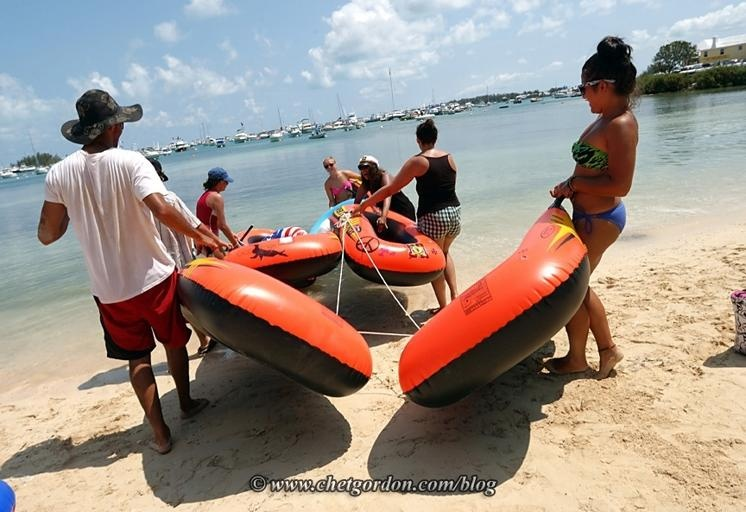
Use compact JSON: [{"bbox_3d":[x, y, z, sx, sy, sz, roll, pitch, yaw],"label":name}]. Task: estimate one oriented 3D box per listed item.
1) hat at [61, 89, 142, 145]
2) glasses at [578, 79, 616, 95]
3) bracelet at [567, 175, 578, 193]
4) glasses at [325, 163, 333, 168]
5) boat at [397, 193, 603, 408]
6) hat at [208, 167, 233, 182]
[{"bbox_3d":[-2.358,-1.242,4.516,0.665,0.436,0.379,-18,18,-19],"label":"hat"},{"bbox_3d":[1.943,-1.529,4.572,0.307,0.115,0.086,2,23,39],"label":"glasses"},{"bbox_3d":[1.765,-0.664,4.676,0.041,0.111,0.125,-8,-7,36],"label":"bracelet"},{"bbox_3d":[-0.785,-1.586,8.863,0.070,0.088,0.185,-24,20,-31],"label":"glasses"},{"bbox_3d":[1.055,0.534,4.410,1.844,1.333,0.598,-16,18,-12],"label":"boat"},{"bbox_3d":[-2.017,-1.130,6.938,0.208,0.157,0.296,20,20,37],"label":"hat"}]
